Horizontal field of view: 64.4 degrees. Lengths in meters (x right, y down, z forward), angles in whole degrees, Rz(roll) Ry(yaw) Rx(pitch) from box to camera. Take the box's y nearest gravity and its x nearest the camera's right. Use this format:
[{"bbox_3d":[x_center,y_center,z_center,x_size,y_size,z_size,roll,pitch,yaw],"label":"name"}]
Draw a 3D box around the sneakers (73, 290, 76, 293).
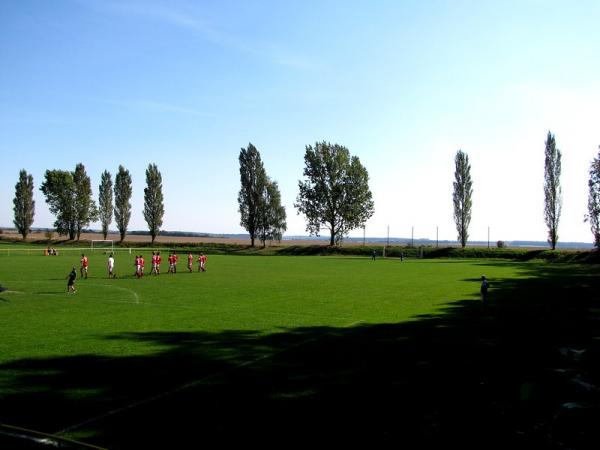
[{"bbox_3d":[-12.540,3.724,26.589,0.082,0.117,0.258,2,3,4],"label":"sneakers"}]
